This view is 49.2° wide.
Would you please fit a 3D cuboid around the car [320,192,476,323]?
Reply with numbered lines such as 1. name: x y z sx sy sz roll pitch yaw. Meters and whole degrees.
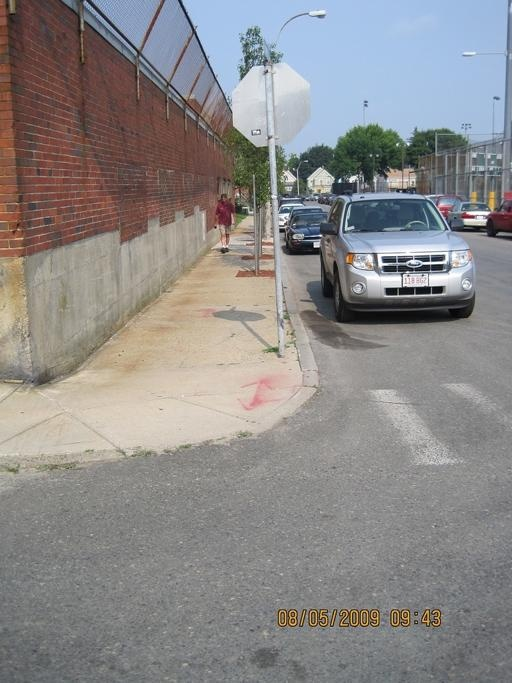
1. car: 2.522 -1.727 10.603 2.350 2.600 2.778 -2 5 -10
